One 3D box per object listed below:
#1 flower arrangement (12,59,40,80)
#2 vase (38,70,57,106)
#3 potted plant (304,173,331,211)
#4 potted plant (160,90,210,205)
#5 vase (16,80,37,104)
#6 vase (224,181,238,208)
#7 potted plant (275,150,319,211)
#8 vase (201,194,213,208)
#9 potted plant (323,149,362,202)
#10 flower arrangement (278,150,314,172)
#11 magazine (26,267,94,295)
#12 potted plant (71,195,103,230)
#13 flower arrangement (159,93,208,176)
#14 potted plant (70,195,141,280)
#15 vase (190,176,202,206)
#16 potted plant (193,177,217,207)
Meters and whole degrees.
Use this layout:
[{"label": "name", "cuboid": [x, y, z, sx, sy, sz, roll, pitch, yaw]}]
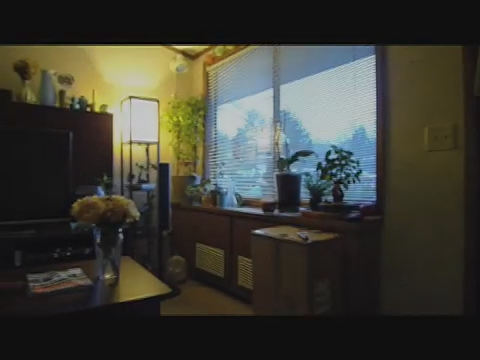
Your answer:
[{"label": "flower arrangement", "cuboid": [-0.758, -0.393, 1.340, 0.060, 0.052, 0.060, -4, 9, -30]}, {"label": "vase", "cuboid": [-0.716, -0.343, 1.407, 0.061, 0.119, 0.076, -1, 3, -32]}, {"label": "potted plant", "cuboid": [0.293, 0.036, 1.444, 0.127, 0.137, 0.109, -2, -5, 43]}, {"label": "potted plant", "cuboid": [-0.213, -0.152, 1.636, 0.112, 0.518, 0.261, 2, 3, 39]}, {"label": "vase", "cuboid": [-0.783, -0.326, 1.382, 0.065, 0.082, 0.025, -1, 3, -30]}, {"label": "vase", "cuboid": [-0.040, 0.068, 1.664, 0.063, 0.107, 0.106, 0, 2, -30]}, {"label": "potted plant", "cuboid": [0.217, 0.007, 1.541, 0.192, 0.254, 0.108, -2, 4, -14]}, {"label": "vase", "cuboid": [-0.147, 0.094, 1.674, 0.053, 0.056, 0.059, -1, 0, 1]}, {"label": "potted plant", "cuboid": [0.368, -0.029, 1.520, 0.169, 0.247, 0.173, -1, 2, 0]}, {"label": "flower arrangement", "cuboid": [0.215, -0.075, 1.475, 0.144, 0.085, 0.025, 2, 3, 41]}, {"label": "magazine", "cuboid": [-0.607, 0.344, 1.280, 0.203, 0.045, 0.172, -1, 3, -29]}, {"label": "potted plant", "cuboid": [-0.501, 0.100, 1.242, 0.091, 0.091, 0.042, -1, 3, -24]}, {"label": "flower arrangement", "cuboid": [-0.213, -0.202, 1.641, 0.126, 0.363, 0.235, 3, 3, 43]}, {"label": "potted plant", "cuboid": [-0.460, 0.203, 1.330, 0.237, 0.269, 0.222, -5, -9, 12]}, {"label": "vase", "cuboid": [-0.190, 0.049, 1.624, 0.058, 0.132, 0.039, -1, 3, -27]}, {"label": "potted plant", "cuboid": [-0.158, 0.052, 1.673, 0.075, 0.110, 0.105, -8, -1, -11]}]
